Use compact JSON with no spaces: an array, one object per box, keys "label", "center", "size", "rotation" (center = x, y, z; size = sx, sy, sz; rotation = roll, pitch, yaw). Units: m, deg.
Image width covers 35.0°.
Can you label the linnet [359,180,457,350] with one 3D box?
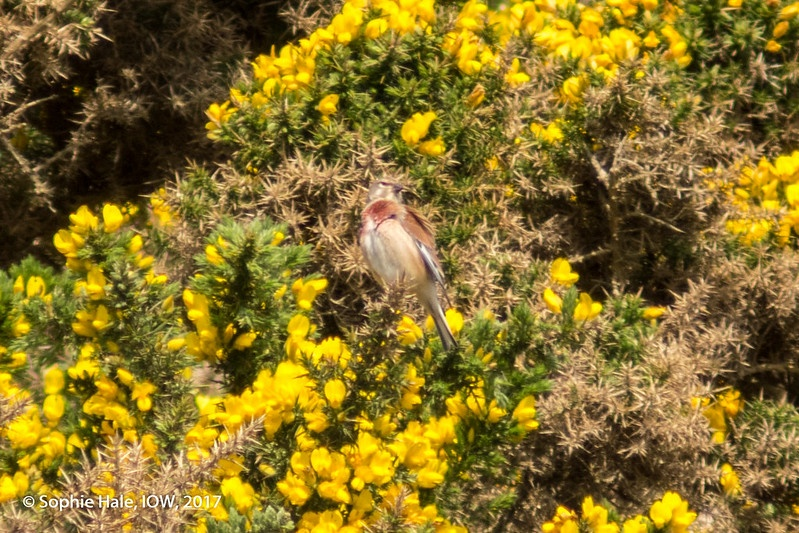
[{"label":"linnet","center":[0.103,-0.057,5.710],"size":[0.625,0.594,0.366],"rotation":[15,11,40]}]
